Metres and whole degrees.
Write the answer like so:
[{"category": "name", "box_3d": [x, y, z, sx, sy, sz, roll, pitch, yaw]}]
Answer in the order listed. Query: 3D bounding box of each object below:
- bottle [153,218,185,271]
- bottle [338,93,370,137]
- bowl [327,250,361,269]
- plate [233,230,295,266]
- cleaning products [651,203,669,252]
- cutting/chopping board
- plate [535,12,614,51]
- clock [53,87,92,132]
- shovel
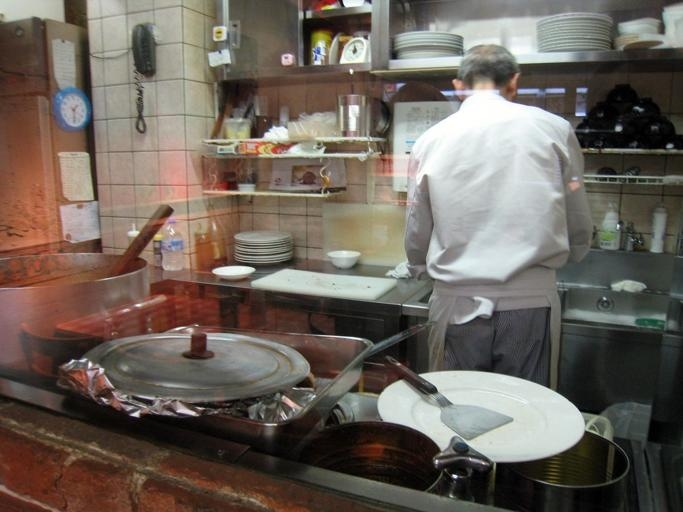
[{"category": "bottle", "box_3d": [-0.252, -0.016, 0.794, 0.058, 0.074, 0.036, 8, 11, 44]}, {"category": "bottle", "box_3d": [0.028, -0.280, 1.068, 0.094, 0.091, 0.087, 0, 15, 4]}, {"category": "bowl", "box_3d": [0.004, 0.007, 0.908, 0.042, 0.015, 0.039, -1, 7, 0]}, {"category": "plate", "box_3d": [-0.136, -0.017, 0.885, 0.078, 0.028, 0.072, 1, 10, 2]}, {"category": "cleaning products", "box_3d": [1.197, -0.100, 2.003, 0.053, 0.172, 0.194, 5, 9, 29]}, {"category": "cutting/chopping board", "box_3d": [-0.014, 0.042, 0.816, 0.165, 0.033, 0.192, 3, 8, 24]}, {"category": "plate", "box_3d": [0.448, -0.413, 1.014, 0.112, 0.042, 0.110, 8, 18, 36]}, {"category": "clock", "box_3d": [-0.383, -0.212, 0.761, 0.014, 0.051, 0.056, 3, 12, 22]}, {"category": "shovel", "box_3d": [0.135, 0.170, 0.649, 0.051, 0.011, 0.147, -9, 16, -29]}]
